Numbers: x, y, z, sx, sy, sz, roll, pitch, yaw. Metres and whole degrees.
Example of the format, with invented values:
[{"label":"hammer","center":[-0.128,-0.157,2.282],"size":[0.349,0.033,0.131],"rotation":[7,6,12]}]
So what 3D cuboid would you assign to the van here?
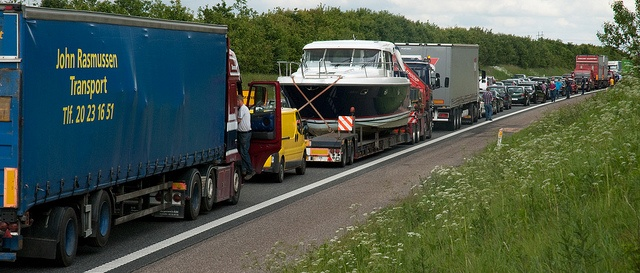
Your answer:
[{"label":"van","center":[-2.312,0.576,24.494],"size":[1.673,1.936,3.642],"rotation":[0,7,20]}]

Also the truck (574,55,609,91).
[{"label":"truck","center":[43.142,-10.363,83.393],"size":[3.680,5.273,11.054],"rotation":[4,11,38]}]

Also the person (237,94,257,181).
[{"label":"person","center":[-3.312,0.090,21.773],"size":[0.904,2.978,0.840],"rotation":[0,0,22]}]

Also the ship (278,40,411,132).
[{"label":"ship","center":[1.464,-3.204,33.162],"size":[7.644,5.235,12.347],"rotation":[2,6,20]}]
